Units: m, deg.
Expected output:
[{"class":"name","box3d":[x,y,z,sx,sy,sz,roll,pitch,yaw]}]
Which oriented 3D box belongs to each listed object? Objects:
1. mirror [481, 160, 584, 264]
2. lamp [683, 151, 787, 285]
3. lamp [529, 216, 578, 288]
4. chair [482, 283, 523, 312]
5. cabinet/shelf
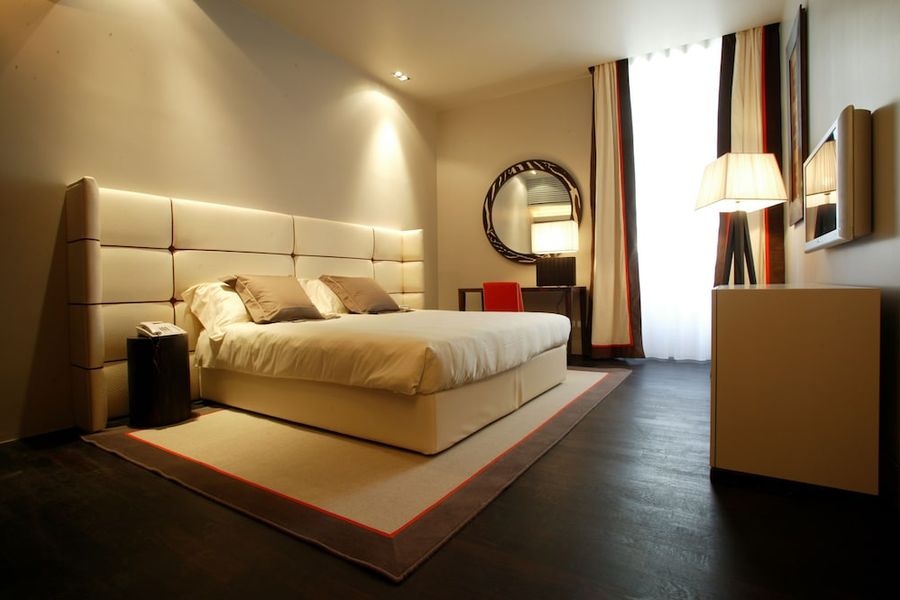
[{"class":"mirror","box3d":[0.921,-0.926,6.435,1.085,1.198,0.054,0,1,31]},{"class":"lamp","box3d":[2.174,-0.597,4.658,0.491,0.991,0.491,-3,3,-10]},{"class":"lamp","box3d":[1.075,-0.492,6.207,0.489,0.711,0.478,-2,3,11]},{"class":"chair","box3d":[0.511,-0.016,5.919,0.284,0.330,0.298,2,4,23]},{"class":"cabinet/shelf","box3d":[1.745,0.477,3.469,0.936,0.965,0.740,4,-4,-5]}]
